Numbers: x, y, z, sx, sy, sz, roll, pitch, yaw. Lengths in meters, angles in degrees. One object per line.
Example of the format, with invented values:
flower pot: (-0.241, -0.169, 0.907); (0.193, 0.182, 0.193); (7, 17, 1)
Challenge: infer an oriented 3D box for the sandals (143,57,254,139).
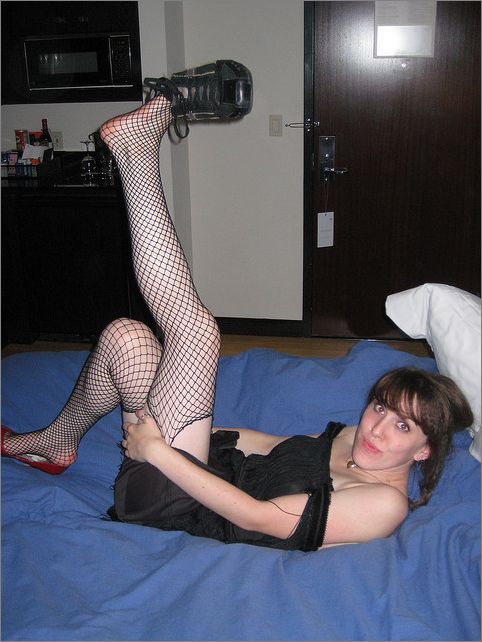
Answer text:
sandals: (-0.125, -0.523, 1.291); (0.340, 0.192, 0.155); (6, 20, 42)

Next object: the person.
person: (-0.172, -0.098, 1.702); (1.533, 1.303, 0.638); (20, 17, 9)
